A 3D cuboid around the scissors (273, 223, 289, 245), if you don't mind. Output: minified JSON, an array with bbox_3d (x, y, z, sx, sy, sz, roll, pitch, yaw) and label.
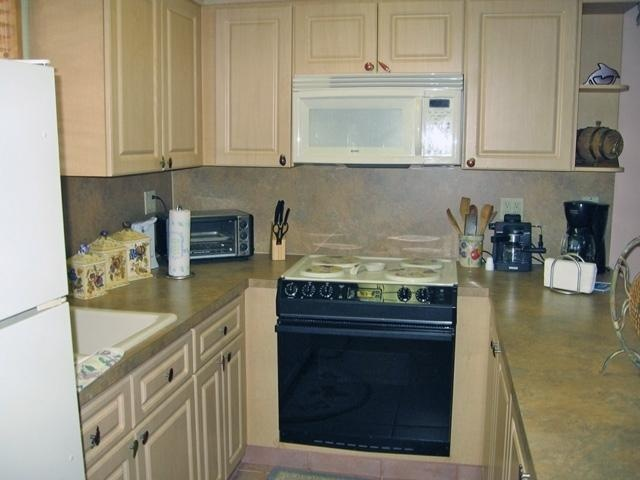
[{"bbox_3d":[-0.238,-0.042,3.241,0.120,0.186,0.015,3,15,4],"label":"scissors"}]

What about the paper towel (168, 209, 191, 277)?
[{"bbox_3d":[-0.708,0.015,2.727,0.113,0.355,0.157,-3,8,-15],"label":"paper towel"}]

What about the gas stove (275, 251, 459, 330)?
[{"bbox_3d":[0.267,0.259,2.847,0.884,0.250,0.534,0,8,11],"label":"gas stove"}]

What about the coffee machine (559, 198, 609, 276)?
[{"bbox_3d":[1.457,-0.016,2.973,0.217,0.401,0.321,3,9,28],"label":"coffee machine"}]

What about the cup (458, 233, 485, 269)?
[{"bbox_3d":[0.854,0.054,3.089,0.131,0.187,0.153,1,8,15],"label":"cup"}]

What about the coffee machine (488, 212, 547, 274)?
[{"bbox_3d":[1.108,0.009,3.060,0.294,0.308,0.310,2,8,23],"label":"coffee machine"}]

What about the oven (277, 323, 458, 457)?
[{"bbox_3d":[0.270,0.527,2.918,0.926,0.856,0.649,0,1,9],"label":"oven"}]
